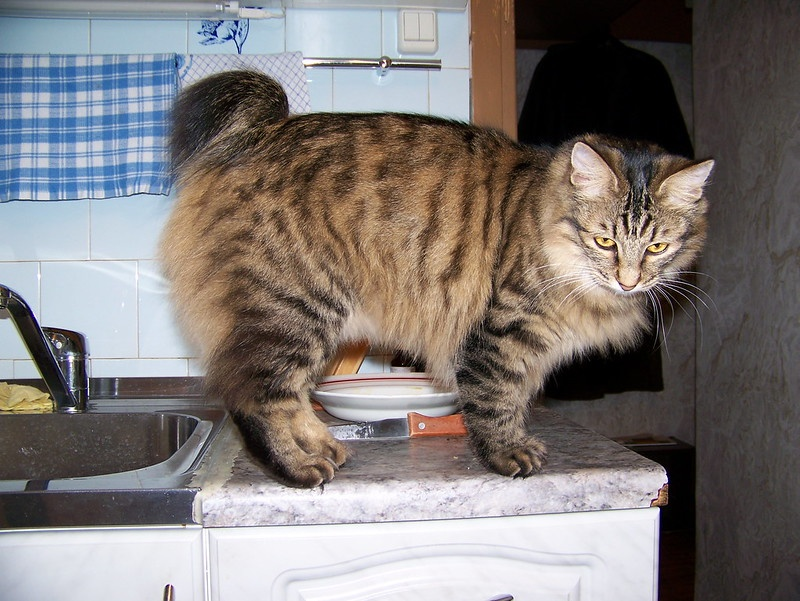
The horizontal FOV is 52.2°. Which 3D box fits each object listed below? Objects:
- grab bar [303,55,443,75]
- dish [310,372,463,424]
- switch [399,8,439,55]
[{"bbox_3d":[-0.104,-0.750,2.598,0.330,0.042,0.062,2,30,1],"label":"grab bar"},{"bbox_3d":[-0.106,0.277,2.192,0.328,0.046,0.330,3,14,-8],"label":"dish"},{"bbox_3d":[0.057,-0.855,2.583,0.151,0.135,0.074,-1,6,-12],"label":"switch"}]
